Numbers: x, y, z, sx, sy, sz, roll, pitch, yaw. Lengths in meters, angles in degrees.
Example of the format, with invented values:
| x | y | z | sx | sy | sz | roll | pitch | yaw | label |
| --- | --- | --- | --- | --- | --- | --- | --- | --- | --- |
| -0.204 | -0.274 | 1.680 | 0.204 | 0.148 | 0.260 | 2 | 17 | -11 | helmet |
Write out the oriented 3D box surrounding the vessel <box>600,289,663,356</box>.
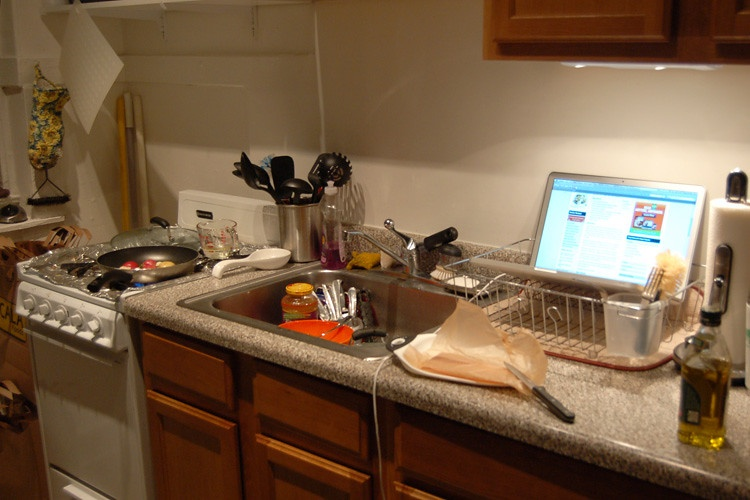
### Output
| x | y | z | sx | sy | sz | roll | pitch | yaw | label |
| --- | --- | --- | --- | --- | --- | --- | --- | --- | --- |
| 0.687 | 0.177 | 1.530 | 0.166 | 0.163 | 0.170 | 4 | 9 | 39 | vessel |

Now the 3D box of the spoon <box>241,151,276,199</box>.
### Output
| x | y | z | sx | sy | sz | roll | pitch | yaw | label |
| --- | --- | --- | --- | --- | --- | --- | --- | --- | --- |
| -0.469 | -0.298 | 2.205 | 0.123 | 0.179 | 0.162 | -6 | 17 | -17 | spoon |

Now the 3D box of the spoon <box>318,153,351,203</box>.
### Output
| x | y | z | sx | sy | sz | roll | pitch | yaw | label |
| --- | --- | --- | --- | --- | --- | --- | --- | --- | --- |
| -0.167 | -0.291 | 2.207 | 0.126 | 0.176 | 0.050 | 14 | 9 | -9 | spoon |

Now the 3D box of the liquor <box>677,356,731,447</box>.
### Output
| x | y | z | sx | sy | sz | roll | pitch | yaw | label |
| --- | --- | --- | --- | --- | --- | --- | --- | --- | --- |
| 0.728 | 0.334 | 1.216 | 0.104 | 0.196 | 0.069 | 5 | 17 | 23 | liquor |

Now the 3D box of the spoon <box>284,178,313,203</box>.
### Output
| x | y | z | sx | sy | sz | roll | pitch | yaw | label |
| --- | --- | --- | --- | --- | --- | --- | --- | --- | --- |
| -0.299 | -0.228 | 2.156 | 0.118 | 0.097 | 0.062 | -7 | 17 | -20 | spoon |

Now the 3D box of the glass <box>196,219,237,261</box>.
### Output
| x | y | z | sx | sy | sz | roll | pitch | yaw | label |
| --- | --- | --- | --- | --- | --- | --- | --- | --- | --- |
| -0.635 | -0.045 | 2.233 | 0.123 | 0.136 | 0.187 | -9 | 20 | -32 | glass |

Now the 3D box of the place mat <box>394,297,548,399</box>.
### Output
| x | y | z | sx | sy | sz | roll | pitch | yaw | label |
| --- | --- | --- | --- | --- | --- | --- | --- | --- | --- |
| 0.270 | 0.277 | 1.459 | 0.271 | 0.088 | 0.273 | 10 | 22 | 26 | place mat |

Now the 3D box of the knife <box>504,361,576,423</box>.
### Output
| x | y | z | sx | sy | sz | roll | pitch | yaw | label |
| --- | --- | --- | --- | --- | --- | --- | --- | --- | --- |
| 0.397 | 0.353 | 1.342 | 0.047 | 0.023 | 0.239 | -12 | 26 | -17 | knife |

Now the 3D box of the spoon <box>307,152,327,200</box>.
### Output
| x | y | z | sx | sy | sz | roll | pitch | yaw | label |
| --- | --- | --- | --- | --- | --- | --- | --- | --- | --- |
| -0.227 | -0.286 | 2.203 | 0.070 | 0.179 | 0.113 | -1 | 16 | 2 | spoon |

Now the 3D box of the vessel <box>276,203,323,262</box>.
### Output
| x | y | z | sx | sy | sz | roll | pitch | yaw | label |
| --- | --- | --- | --- | --- | --- | --- | --- | --- | --- |
| -0.262 | -0.075 | 2.264 | 0.214 | 0.226 | 0.204 | 1 | 14 | 8 | vessel |

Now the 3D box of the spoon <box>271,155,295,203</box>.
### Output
| x | y | z | sx | sy | sz | roll | pitch | yaw | label |
| --- | --- | --- | --- | --- | --- | --- | --- | --- | --- |
| -0.360 | -0.285 | 2.189 | 0.094 | 0.192 | 0.037 | -4 | 13 | -25 | spoon |

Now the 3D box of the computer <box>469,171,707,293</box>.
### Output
| x | y | z | sx | sy | sz | roll | pitch | yaw | label |
| --- | --- | --- | --- | --- | --- | --- | --- | --- | --- |
| 0.747 | -0.079 | 1.714 | 0.502 | 0.291 | 0.438 | 9 | 10 | 38 | computer |

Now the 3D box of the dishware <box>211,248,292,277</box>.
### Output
| x | y | z | sx | sy | sz | roll | pitch | yaw | label |
| --- | --- | --- | --- | --- | --- | --- | --- | --- | --- |
| -0.464 | 0.041 | 2.095 | 0.226 | 0.050 | 0.126 | -15 | 24 | -36 | dishware |
